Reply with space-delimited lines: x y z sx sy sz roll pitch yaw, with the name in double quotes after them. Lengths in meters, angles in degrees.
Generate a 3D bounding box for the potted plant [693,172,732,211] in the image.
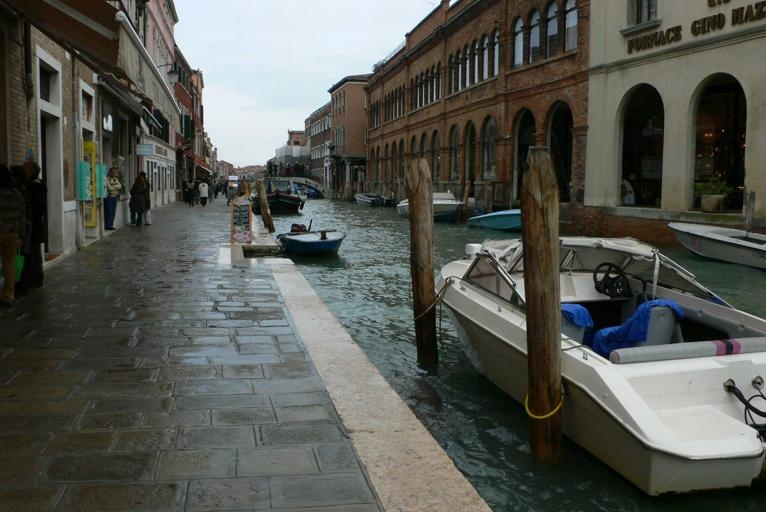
11.720 -2.316 20.877 1.365 1.467 1.018 1 5 42 "potted plant"

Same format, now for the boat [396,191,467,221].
2.800 -2.883 36.626 2.372 2.094 7.101 -2 4 -18 "boat"

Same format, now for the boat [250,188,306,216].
-7.116 -3.819 42.192 1.629 1.777 2.978 11 11 28 "boat"

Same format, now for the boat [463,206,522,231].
5.685 -1.781 29.230 0.960 1.192 3.194 0 11 -29 "boat"

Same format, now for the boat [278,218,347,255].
-2.423 -0.468 19.456 2.031 0.922 1.388 11 11 30 "boat"

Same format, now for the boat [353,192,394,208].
-0.932 -5.206 54.804 1.688 1.220 3.814 -2 12 -38 "boat"
